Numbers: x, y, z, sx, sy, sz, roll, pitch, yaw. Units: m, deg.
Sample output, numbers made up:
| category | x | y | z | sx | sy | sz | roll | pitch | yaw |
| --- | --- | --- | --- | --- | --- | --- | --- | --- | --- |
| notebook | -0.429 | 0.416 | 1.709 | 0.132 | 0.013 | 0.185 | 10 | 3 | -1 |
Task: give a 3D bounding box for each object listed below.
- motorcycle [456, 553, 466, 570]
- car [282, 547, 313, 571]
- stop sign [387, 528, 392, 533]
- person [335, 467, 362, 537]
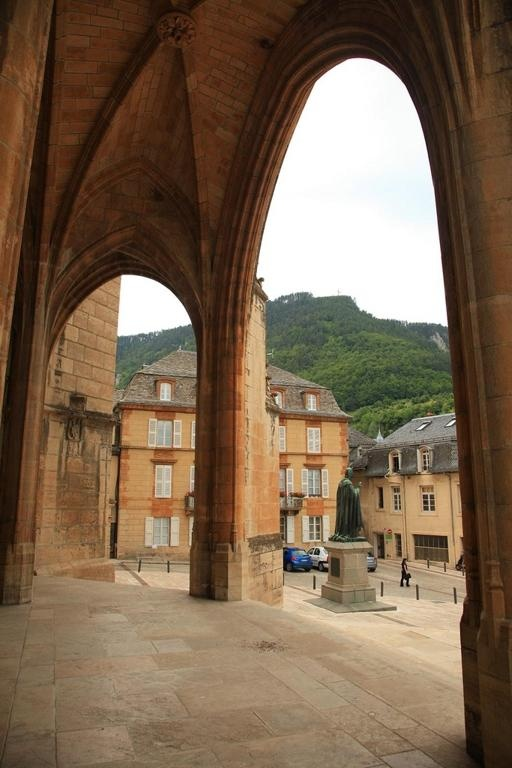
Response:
| category | x | y | z | sx | sy | sz | roll | pitch | yaw |
| --- | --- | --- | --- | --- | --- | --- | --- | --- | --- |
| motorcycle | 9.674 | 8.594 | 25.830 | 0.307 | 0.711 | 0.806 | -3 | -11 | 10 |
| car | 1.793 | 8.088 | 24.605 | 0.989 | 0.952 | 2.080 | 4 | -14 | -14 |
| stop sign | 7.738 | 8.683 | 31.490 | 0.074 | 0.320 | 0.401 | 4 | -12 | -22 |
| person | 2.427 | 3.382 | 14.690 | 0.714 | 1.695 | 0.863 | -2 | -11 | 7 |
